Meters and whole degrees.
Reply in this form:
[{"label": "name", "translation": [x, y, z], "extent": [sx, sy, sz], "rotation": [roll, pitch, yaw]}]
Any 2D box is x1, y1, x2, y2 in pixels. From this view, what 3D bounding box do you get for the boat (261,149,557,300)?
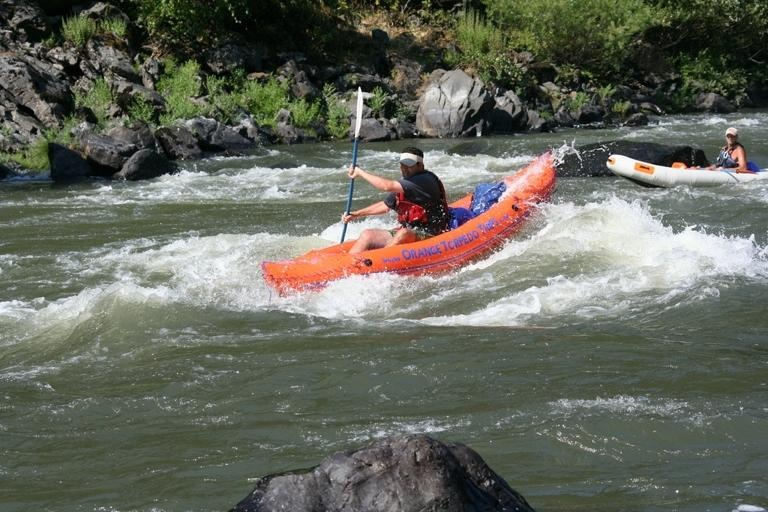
[{"label": "boat", "translation": [0.971, -0.073, 22.829], "extent": [7.014, 1.520, 2.152], "rotation": [-22, 30, -11]}]
